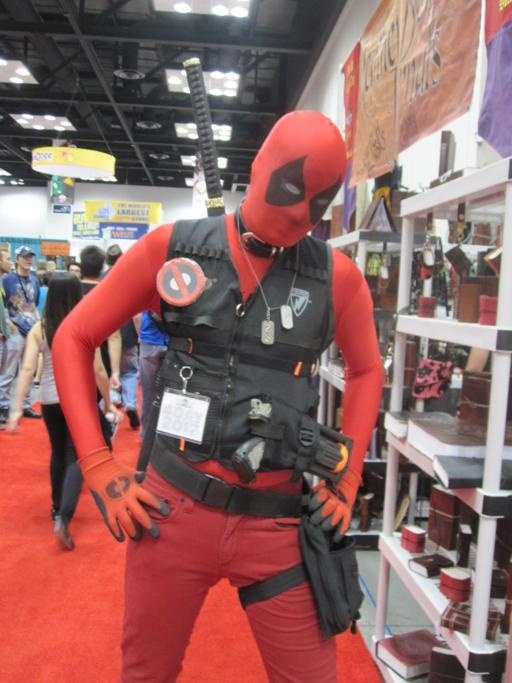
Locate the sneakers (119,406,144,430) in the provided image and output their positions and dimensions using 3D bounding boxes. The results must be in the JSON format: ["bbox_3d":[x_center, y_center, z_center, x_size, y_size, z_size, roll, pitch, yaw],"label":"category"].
[{"bbox_3d":[-1.124,0.758,4.647,0.104,0.325,0.136,-1,24,12],"label":"sneakers"}]

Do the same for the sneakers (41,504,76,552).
[{"bbox_3d":[-0.974,0.941,2.482,0.082,0.279,0.112,-12,33,-5],"label":"sneakers"}]

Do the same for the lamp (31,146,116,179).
[{"bbox_3d":[-2.658,-2.720,7.814,0.800,0.199,0.819,7,5,34],"label":"lamp"}]

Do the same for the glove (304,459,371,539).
[{"bbox_3d":[0.150,0.283,0.927,0.090,0.048,0.149,30,32,-4],"label":"glove"}]

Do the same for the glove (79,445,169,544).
[{"bbox_3d":[-0.226,0.272,0.856,0.111,0.055,0.179,-27,69,-35],"label":"glove"}]
